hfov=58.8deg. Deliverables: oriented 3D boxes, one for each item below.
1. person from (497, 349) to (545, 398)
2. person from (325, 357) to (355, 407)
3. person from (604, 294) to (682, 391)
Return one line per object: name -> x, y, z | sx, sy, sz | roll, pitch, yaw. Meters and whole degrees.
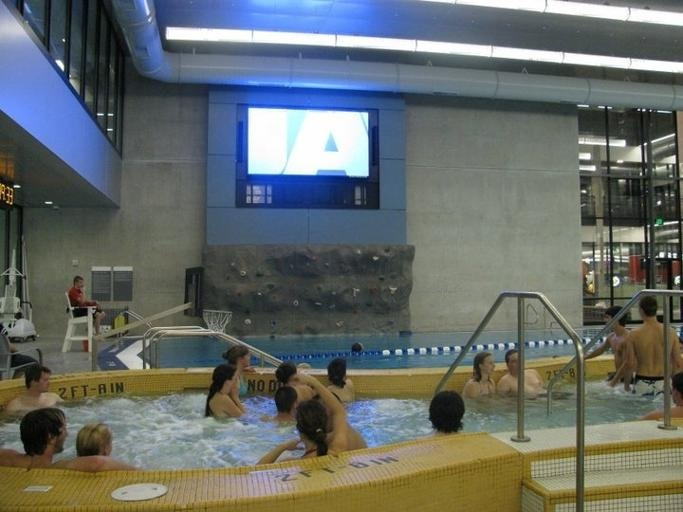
person -> 2.452, 1.627, 8.365 | 0.601, 0.697, 1.680 | -2, -3, 23
person -> -0.016, 1.650, 7.922 | 0.314, 0.543, 1.217 | -8, -20, 2
person -> 4.029, 1.159, 7.889 | 0.611, 1.326, 1.251 | -2, -3, 10
